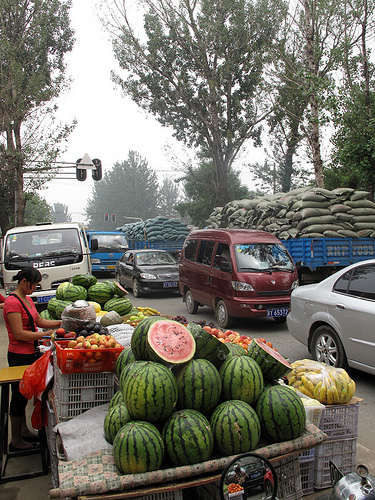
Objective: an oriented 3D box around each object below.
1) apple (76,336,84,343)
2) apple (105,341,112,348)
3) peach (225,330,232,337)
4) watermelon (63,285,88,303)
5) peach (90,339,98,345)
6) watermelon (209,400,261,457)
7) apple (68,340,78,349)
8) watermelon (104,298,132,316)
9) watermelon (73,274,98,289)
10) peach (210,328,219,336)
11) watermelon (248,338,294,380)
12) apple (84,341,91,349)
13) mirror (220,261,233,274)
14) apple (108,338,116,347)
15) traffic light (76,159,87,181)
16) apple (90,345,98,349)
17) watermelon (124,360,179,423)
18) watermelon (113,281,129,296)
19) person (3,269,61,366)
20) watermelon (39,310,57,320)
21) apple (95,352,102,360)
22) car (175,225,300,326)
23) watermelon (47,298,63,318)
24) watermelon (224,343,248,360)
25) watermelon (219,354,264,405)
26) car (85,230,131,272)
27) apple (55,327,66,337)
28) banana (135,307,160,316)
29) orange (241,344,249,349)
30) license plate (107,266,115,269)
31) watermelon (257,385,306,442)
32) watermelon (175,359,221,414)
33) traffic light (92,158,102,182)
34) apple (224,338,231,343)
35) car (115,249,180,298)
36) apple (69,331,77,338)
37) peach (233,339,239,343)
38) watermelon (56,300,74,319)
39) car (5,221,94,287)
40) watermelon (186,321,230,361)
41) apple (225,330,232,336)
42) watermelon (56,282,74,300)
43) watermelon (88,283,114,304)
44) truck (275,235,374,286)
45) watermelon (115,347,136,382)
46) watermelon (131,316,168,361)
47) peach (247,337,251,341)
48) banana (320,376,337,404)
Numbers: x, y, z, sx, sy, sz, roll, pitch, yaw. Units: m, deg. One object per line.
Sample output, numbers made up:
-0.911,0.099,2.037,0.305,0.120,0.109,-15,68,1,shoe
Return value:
-0.694,0.580,2.490,0.033,0.033,0.039,-17,14,-31,apple
-0.499,0.599,2.422,0.031,0.036,0.031,3,0,1,apple
0.327,0.685,3.159,0.071,0.042,0.072,1,1,-11,peach
-1.224,0.489,4.288,0.287,0.158,0.191,1,4,38,watermelon
-0.591,0.587,2.446,0.028,0.029,0.038,25,0,14,peach
0.230,0.887,1.924,0.229,0.203,0.214,1,3,30,watermelon
-0.728,0.600,2.440,0.042,0.041,0.050,8,30,-11,apple
-0.724,0.574,4.046,0.231,0.173,0.163,-2,22,-14,watermelon
-1.216,0.369,4.503,0.281,0.154,0.139,4,-7,2,watermelon
0.193,0.602,2.825,0.044,0.052,0.044,-18,3,-10,peach
0.492,0.677,2.410,0.241,0.155,0.238,36,1,-10,watermelon
-0.618,0.589,2.382,0.040,0.039,0.033,-2,3,-22,apple
0.804,0.377,8.476,0.222,0.320,0.358,5,-4,-32,mirror
-0.477,0.592,2.463,0.037,0.044,0.037,-36,-30,-6,apple
-6.096,-4.634,22.110,0.475,1.268,1.512,-2,3,-17,traffic light
-0.575,0.599,2.373,0.026,0.020,0.020,6,8,-10,apple
-0.191,0.713,1.897,0.251,0.264,0.194,1,4,36,watermelon
-0.756,0.433,4.262,0.052,0.159,0.140,-39,-30,3,watermelon
-1.493,0.655,3.690,0.464,0.960,0.605,-2,3,-26,person
-1.544,0.727,4.255,0.136,0.075,0.138,10,0,-11,watermelon
-0.550,0.659,2.380,0.047,0.060,0.029,-3,4,-34,apple
1.231,0.635,9.939,2.168,2.191,3.631,1,0,-21,car
-1.387,0.609,4.090,0.137,0.183,0.140,-13,-4,-45,watermelon
0.300,0.625,2.406,0.099,0.075,0.128,8,-1,-2,watermelon
0.281,0.751,2.205,0.281,0.335,0.279,-1,13,0,watermelon
-5.322,0.054,22.662,2.552,2.545,5.307,0,2,-35,car
-0.909,0.597,2.797,0.069,0.073,0.079,8,43,-9,apple
-0.451,0.702,4.353,0.208,0.104,0.275,4,-4,-40,banana
0.412,0.701,2.783,0.025,0.025,0.025,-15,9,-24,orange
-3.952,0.895,19.821,0.347,0.127,0.101,-1,3,-9,license plate
0.499,0.884,2.079,0.230,0.225,0.227,1,3,31,watermelon
0.026,0.719,2.086,0.250,0.291,0.246,-3,-14,-11,watermelon
-5.274,-4.711,22.300,0.486,1.220,0.877,-1,3,-14,traffic light
0.298,0.680,2.919,0.038,0.035,0.038,1,1,19,apple
-1.550,0.797,15.500,2.017,1.681,4.436,-2,2,-24,car
-0.816,0.605,2.746,0.027,0.038,0.093,-1,-1,-4,apple
0.366,0.698,2.928,0.041,0.017,0.071,0,3,12,peach
-1.302,0.630,4.038,0.144,0.168,0.306,-2,3,-19,watermelon
-3.100,0.087,8.583,1.508,1.198,2.234,-2,-2,-9,car
0.059,0.558,2.243,0.208,0.133,0.212,27,-1,33,watermelon
0.336,0.686,3.190,0.044,0.047,0.048,23,-7,-22,apple
-1.438,0.478,4.448,0.187,0.227,0.184,-3,42,-2,watermelon
-0.966,0.492,4.292,0.254,0.196,0.205,1,3,32,watermelon
3.734,0.146,10.470,1.621,0.958,2.151,-1,0,-35,truck
-0.386,0.705,2.350,0.186,0.217,0.177,5,-18,-6,watermelon
-0.211,0.501,2.211,0.180,0.199,0.183,-1,5,-26,watermelon
0.482,0.714,3.037,0.019,0.043,0.045,2,-3,18,peach
0.948,0.956,2.614,0.087,0.136,0.131,0,3,5,banana
